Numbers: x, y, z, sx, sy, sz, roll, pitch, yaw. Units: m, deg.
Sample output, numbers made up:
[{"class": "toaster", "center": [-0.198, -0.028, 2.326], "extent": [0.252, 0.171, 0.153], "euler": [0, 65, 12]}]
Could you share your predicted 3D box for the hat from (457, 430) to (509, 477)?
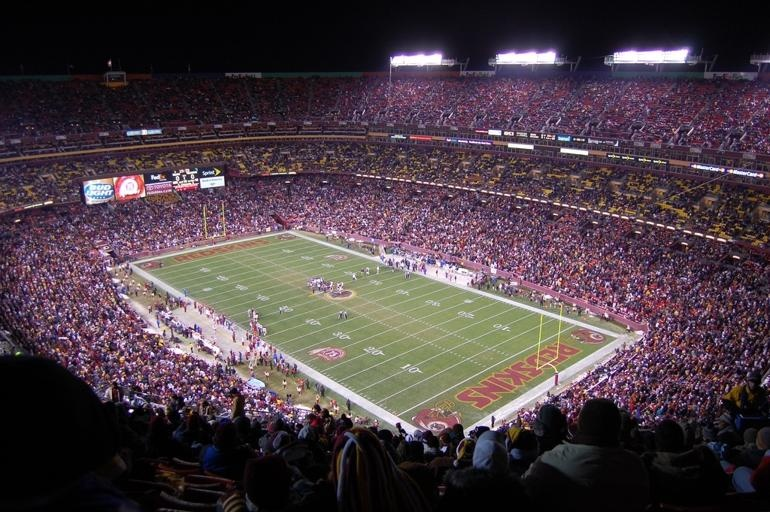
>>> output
[{"class": "hat", "center": [1.208, 2.267, 6.806], "extent": [0.363, 0.287, 0.544], "euler": [0, 24, 17]}]

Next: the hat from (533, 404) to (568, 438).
[{"class": "hat", "center": [2.441, 2.340, 8.494], "extent": [0.414, 0.472, 0.526], "euler": [2, 8, 39]}]

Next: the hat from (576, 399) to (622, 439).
[{"class": "hat", "center": [2.436, 1.930, 6.869], "extent": [0.476, 0.468, 0.529], "euler": [8, -9, 16]}]
